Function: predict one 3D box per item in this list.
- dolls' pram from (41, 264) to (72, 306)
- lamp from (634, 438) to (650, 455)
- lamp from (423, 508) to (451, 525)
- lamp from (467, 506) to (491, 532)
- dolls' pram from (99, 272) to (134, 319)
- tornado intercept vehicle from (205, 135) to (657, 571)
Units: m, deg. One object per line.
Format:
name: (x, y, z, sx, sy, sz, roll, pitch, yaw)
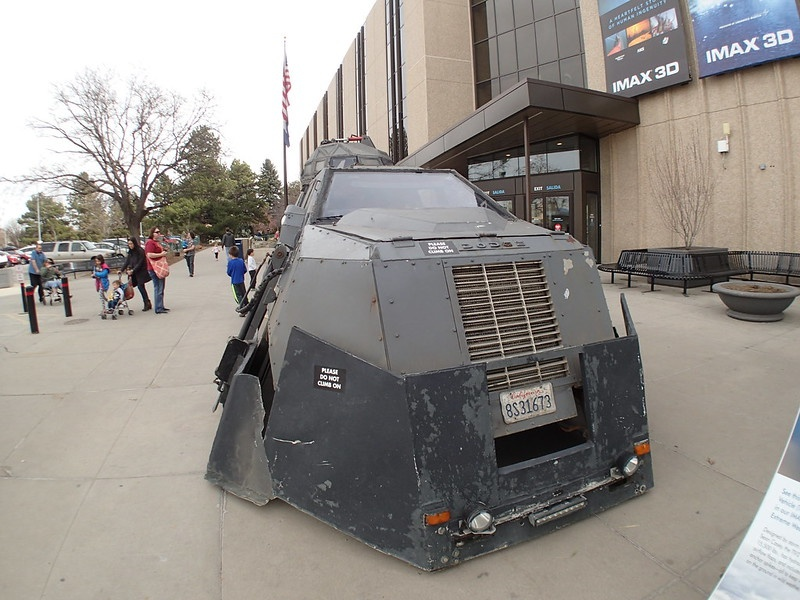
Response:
dolls' pram: (-10.027, -0.541, 14.322, 0.622, 1.164, 0.538, 4, 8, -1)
lamp: (2.054, 1.243, 4.221, 0.079, 0.099, 0.141, -13, -8, 44)
lamp: (0.286, 1.613, 3.715, 0.142, 0.058, 0.109, -12, -15, 12)
lamp: (0.598, 1.651, 3.757, 0.164, 0.167, 0.148, 23, 45, -4)
dolls' pram: (-6.489, -0.121, 11.430, 0.677, 0.922, 0.688, -7, 3, 0)
tornado intercept vehicle: (-0.055, -0.174, 6.119, 4.522, 3.261, 5.906, -7, 14, -21)
